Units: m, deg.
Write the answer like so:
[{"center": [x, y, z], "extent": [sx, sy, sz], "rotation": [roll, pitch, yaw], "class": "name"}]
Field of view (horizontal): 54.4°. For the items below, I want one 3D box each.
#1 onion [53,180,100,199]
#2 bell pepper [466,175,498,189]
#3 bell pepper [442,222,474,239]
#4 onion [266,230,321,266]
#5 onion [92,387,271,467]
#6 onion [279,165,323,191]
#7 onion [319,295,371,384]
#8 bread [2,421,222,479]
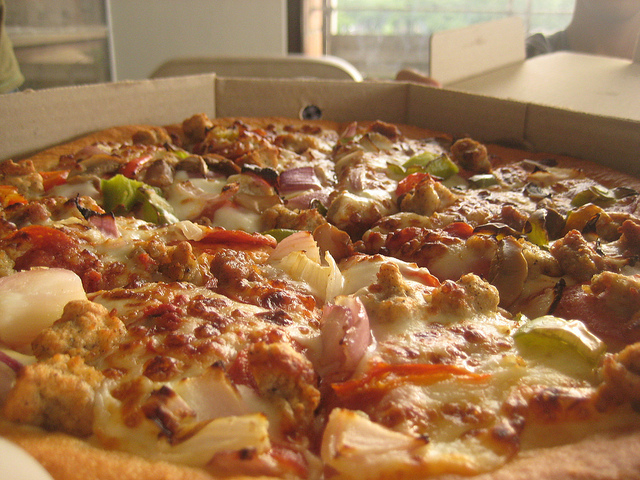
[{"center": [-0.771, -0.154, 1.941], "extent": [0.092, 0.025, 0.079], "rotation": [-3, 23, -13], "class": "onion"}, {"center": [0.604, -0.219, 2.315], "extent": [0.077, 0.023, 0.061], "rotation": [-2, 30, 6], "class": "bell pepper"}, {"center": [0.381, -0.029, 1.723], "extent": [0.053, 0.017, 0.052], "rotation": [-1, 25, -36], "class": "bell pepper"}, {"center": [-0.070, -0.002, 1.592], "extent": [0.161, 0.075, 0.107], "rotation": [-12, 20, -24], "class": "onion"}, {"center": [-0.261, 0.323, 1.125], "extent": [0.298, 0.095, 0.208], "rotation": [-11, 10, -30], "class": "onion"}, {"center": [-0.071, -0.219, 2.256], "extent": [0.110, 0.036, 0.104], "rotation": [1, 32, -27], "class": "onion"}, {"center": [0.050, 0.195, 1.309], "extent": [0.156, 0.143, 0.122], "rotation": [-5, 18, -25], "class": "onion"}, {"center": [-0.387, 0.390, 1.093], "extent": [0.415, 0.042, 0.076], "rotation": [5, 23, 11], "class": "bread"}]
